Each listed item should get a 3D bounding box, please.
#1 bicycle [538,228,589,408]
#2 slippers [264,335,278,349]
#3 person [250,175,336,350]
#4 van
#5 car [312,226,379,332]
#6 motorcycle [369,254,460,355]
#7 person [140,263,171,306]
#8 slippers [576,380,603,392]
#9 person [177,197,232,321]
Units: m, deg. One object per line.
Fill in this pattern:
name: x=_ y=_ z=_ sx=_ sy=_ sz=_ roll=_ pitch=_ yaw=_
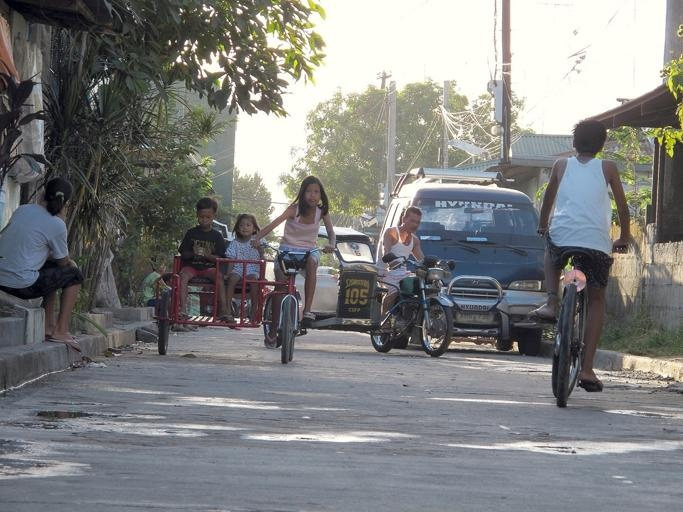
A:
bicycle: x=1.846 y=0.530 z=8.432 sx=0.350 sy=1.391 sz=0.785 roll=1 pitch=-2 yaw=13
slippers: x=-0.926 y=1.147 z=13.530 sx=0.117 sy=0.166 sz=0.367 roll=1 pitch=-8 yaw=-16
person: x=-0.582 y=0.067 z=11.823 sx=1.035 sy=2.014 sz=1.033 roll=3 pitch=-2 yaw=-40
van: x=2.063 y=0.036 z=18.211 sx=2.303 sy=3.264 sz=4.814 roll=3 pitch=0 yaw=-3
car: x=0.052 y=0.577 z=15.613 sx=1.087 sy=1.204 sz=2.014 roll=0 pitch=4 yaw=-2
motorcycle: x=1.026 y=0.704 z=14.299 sx=0.522 sy=1.357 sz=1.388 roll=3 pitch=-3 yaw=-40
person: x=-3.711 y=0.582 z=20.888 sx=0.637 sy=0.937 sz=0.636 roll=11 pitch=8 yaw=32
slippers: x=2.063 y=1.069 z=8.446 sx=0.192 sy=0.067 sz=0.107 roll=1 pitch=-5 yaw=11
person: x=-1.693 y=0.160 z=12.382 sx=0.569 sy=1.203 sz=0.679 roll=2 pitch=-2 yaw=-10
